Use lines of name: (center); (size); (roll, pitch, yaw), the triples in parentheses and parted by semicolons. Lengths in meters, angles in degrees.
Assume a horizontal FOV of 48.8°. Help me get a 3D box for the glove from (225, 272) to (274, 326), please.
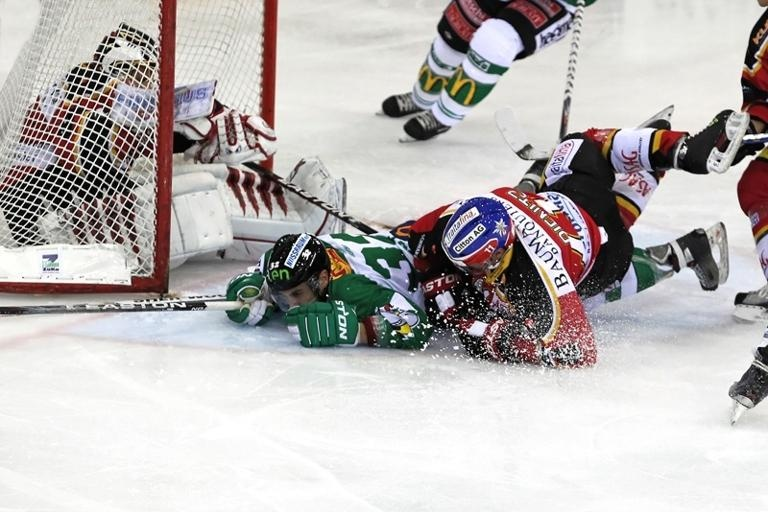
glove: (-0.606, 0.172, 3.715); (0.184, 0.104, 0.224); (-3, 54, -13)

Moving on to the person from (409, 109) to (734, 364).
person: (0.907, -0.014, 3.904); (1.471, 0.613, 0.927); (-25, 49, -28)

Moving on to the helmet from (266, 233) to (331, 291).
helmet: (-0.400, 0.010, 3.604); (0.259, 0.205, 0.195); (-36, 23, -35)

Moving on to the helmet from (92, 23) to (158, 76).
helmet: (-1.224, -0.991, 3.969); (0.226, 0.306, 0.110); (35, -32, -4)

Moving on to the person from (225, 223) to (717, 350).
person: (0.502, 0.144, 3.834); (1.831, 0.356, 0.816); (0, 10, -12)

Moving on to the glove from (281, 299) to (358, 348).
glove: (-0.256, 0.289, 3.507); (0.256, 0.182, 0.109); (1, 17, 3)

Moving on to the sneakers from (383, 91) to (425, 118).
sneakers: (0.186, -1.186, 6.654); (0.430, 0.152, 0.185); (-10, -9, -37)

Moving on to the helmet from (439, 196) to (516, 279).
helmet: (0.384, -0.063, 3.559); (0.251, 0.326, 0.285); (43, -3, 11)

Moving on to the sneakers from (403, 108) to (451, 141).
sneakers: (0.258, -0.945, 6.112); (0.426, 0.173, 0.152); (-18, 65, -48)

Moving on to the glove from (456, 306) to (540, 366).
glove: (0.481, 0.326, 3.550); (0.261, 0.116, 0.190); (12, 14, 3)
